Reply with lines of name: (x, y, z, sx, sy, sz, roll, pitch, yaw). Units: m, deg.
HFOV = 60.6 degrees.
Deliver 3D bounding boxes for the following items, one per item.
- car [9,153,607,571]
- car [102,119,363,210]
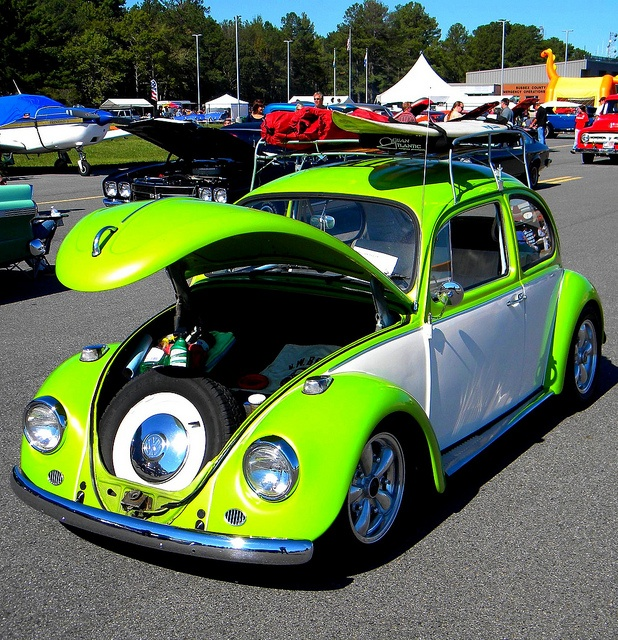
car: (0.311, 0.043, 3.167, 1.905, 1.355, 3.403, 8, 17, 42)
car: (-1.928, -3.623, 13.032, 3.208, 2.336, 5.453, 11, 20, 43)
